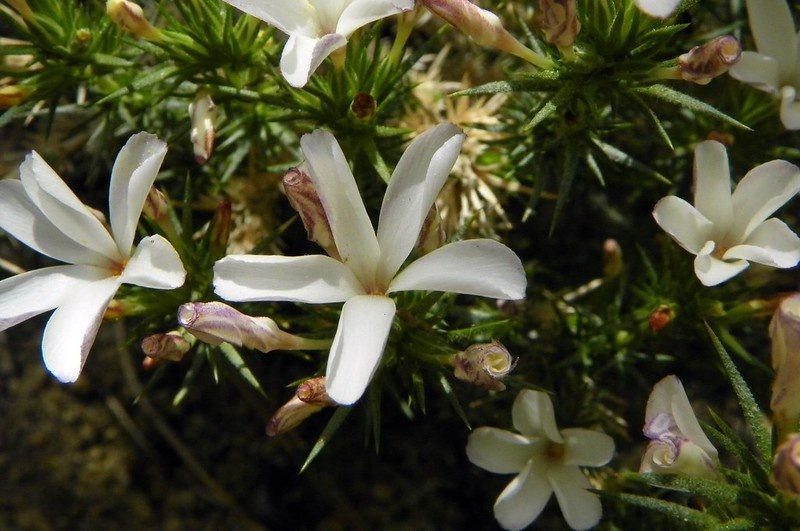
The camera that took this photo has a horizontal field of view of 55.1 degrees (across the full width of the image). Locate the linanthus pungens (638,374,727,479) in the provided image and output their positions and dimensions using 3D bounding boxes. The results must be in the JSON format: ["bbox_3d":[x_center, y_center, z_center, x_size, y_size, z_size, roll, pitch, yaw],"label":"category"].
[{"bbox_3d":[1.056,0.620,2.898,0.283,0.202,0.372,3,64,-1],"label":"linanthus pungens"}]
